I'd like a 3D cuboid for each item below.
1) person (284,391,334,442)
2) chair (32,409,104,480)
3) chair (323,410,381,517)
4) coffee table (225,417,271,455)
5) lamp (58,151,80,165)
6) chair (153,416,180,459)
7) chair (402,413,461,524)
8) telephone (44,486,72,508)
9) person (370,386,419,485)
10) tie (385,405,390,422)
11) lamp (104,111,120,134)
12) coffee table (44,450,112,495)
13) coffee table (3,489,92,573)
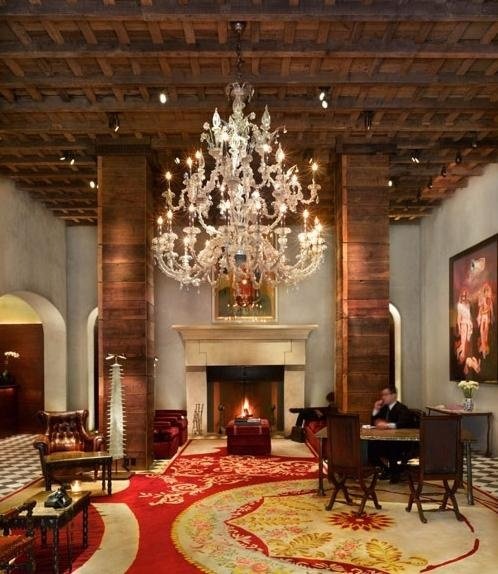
[{"bbox_3d":[1.318,2.648,11.461,1.042,0.986,0.464,7,0,8],"label":"person"},{"bbox_3d":[-2.584,2.213,7.808,0.909,0.829,1.042,-6,-9,40],"label":"chair"},{"bbox_3d":[1.178,1.952,6.348,0.592,1.074,1.290,-2,-8,9],"label":"chair"},{"bbox_3d":[0.002,2.612,9.668,0.659,0.344,0.601,0,-3,2],"label":"coffee table"},{"bbox_3d":[-2.862,-2.036,8.788,0.296,0.127,0.329,5,1,-10],"label":"lamp"},{"bbox_3d":[-1.402,2.571,9.370,0.371,0.350,1.110,0,-2,-3],"label":"chair"},{"bbox_3d":[1.920,1.862,5.815,0.571,0.961,0.604,8,-17,-19],"label":"chair"},{"bbox_3d":[-1.566,1.739,4.580,0.135,0.092,0.170,1,-5,1],"label":"telephone"},{"bbox_3d":[1.910,1.968,7.454,0.814,1.174,0.661,7,-13,-2],"label":"person"},{"bbox_3d":[1.872,1.716,7.463,0.057,0.132,0.116,4,3,31],"label":"tie"},{"bbox_3d":[-1.854,-2.269,7.624,0.242,0.357,0.219,0,2,6],"label":"lamp"},{"bbox_3d":[-2.152,2.442,6.964,0.909,0.465,0.588,1,-5,-13],"label":"coffee table"},{"bbox_3d":[-1.614,2.015,4.519,0.383,0.368,0.833,-1,-14,2],"label":"coffee table"}]
